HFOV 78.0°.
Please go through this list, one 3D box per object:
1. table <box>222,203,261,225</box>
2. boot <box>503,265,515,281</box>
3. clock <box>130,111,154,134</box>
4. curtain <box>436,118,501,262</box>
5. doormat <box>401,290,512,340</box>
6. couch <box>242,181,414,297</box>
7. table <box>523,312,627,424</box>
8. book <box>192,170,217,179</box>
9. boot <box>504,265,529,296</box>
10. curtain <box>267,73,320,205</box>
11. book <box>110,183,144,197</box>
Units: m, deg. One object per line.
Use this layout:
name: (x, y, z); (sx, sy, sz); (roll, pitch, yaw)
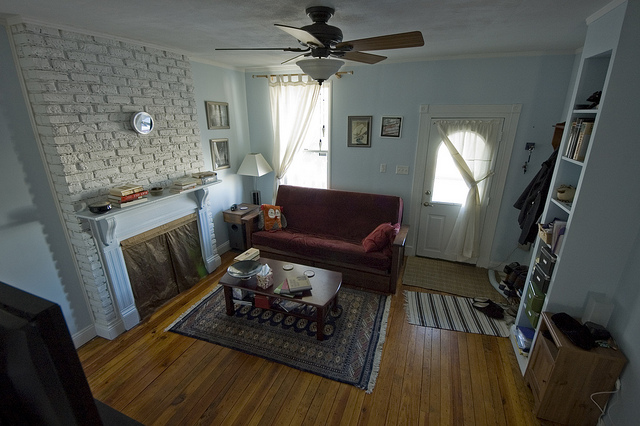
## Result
table: (-1.229, -0.017, 5.777); (0.311, 0.112, 0.431); (7, 23, 17)
boot: (2.432, 0.782, 5.137); (0.159, 0.143, 0.151); (16, 4, -5)
clock: (-2.003, -1.003, 4.443); (0.065, 0.247, 0.262); (13, 20, 30)
curtain: (1.927, -0.295, 5.355); (0.677, 1.939, 0.174); (11, 21, 27)
doormat: (1.527, 1.210, 4.735); (0.731, 0.009, 0.464); (3, 23, 7)
couch: (0.067, 0.290, 5.533); (2.231, 1.040, 0.822); (9, 25, 19)
table: (2.330, 1.409, 3.559); (0.608, 1.025, 0.802); (9, 16, 16)
book: (-1.532, -0.501, 5.141); (0.251, 0.049, 0.293); (9, 17, 23)
boot: (2.420, 0.839, 4.990); (0.146, 0.390, 0.240); (18, 15, -14)
curtain: (-0.444, -1.035, 6.021); (0.398, 1.914, 0.747); (11, 16, 2)
book: (-2.093, -0.250, 4.285); (0.159, 0.096, 0.297); (12, 19, 30)
